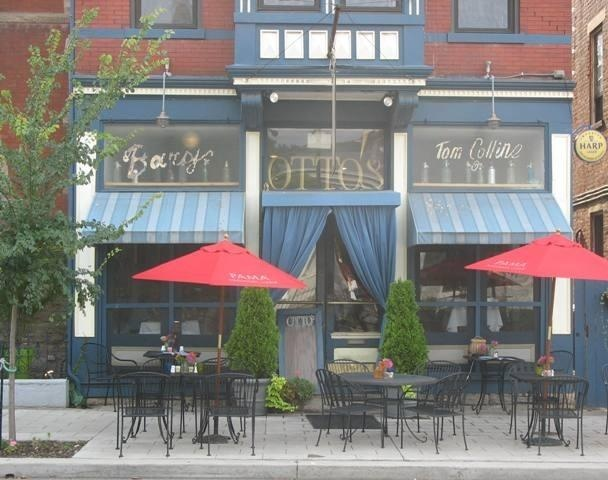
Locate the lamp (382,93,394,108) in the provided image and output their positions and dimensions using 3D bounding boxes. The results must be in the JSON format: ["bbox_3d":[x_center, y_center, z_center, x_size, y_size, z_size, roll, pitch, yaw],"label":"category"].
[{"bbox_3d":[1.695,-2.797,27.124,0.215,0.221,0.482,-2,-8,4],"label":"lamp"}]

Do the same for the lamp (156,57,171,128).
[{"bbox_3d":[-2.810,-2.918,27.078,0.290,1.343,0.635,-1,-7,-7],"label":"lamp"}]

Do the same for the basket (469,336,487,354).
[{"bbox_3d":[3.457,2.081,26.816,0.301,0.306,0.298,5,-9,-39],"label":"basket"}]

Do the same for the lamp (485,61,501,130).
[{"bbox_3d":[3.793,-2.973,27.241,0.260,1.450,0.567,-3,-7,8],"label":"lamp"}]

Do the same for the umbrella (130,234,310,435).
[{"bbox_3d":[-1.364,1.708,24.530,3.022,3.531,3.378,2,-5,-11],"label":"umbrella"}]

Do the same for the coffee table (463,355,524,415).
[{"bbox_3d":[3.758,2.828,26.959,1.140,1.135,1.163,2,4,-17],"label":"coffee table"}]

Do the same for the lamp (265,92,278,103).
[{"bbox_3d":[-0.602,-2.830,26.768,0.176,0.187,0.066,0,0,-14],"label":"lamp"}]

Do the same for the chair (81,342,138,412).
[{"bbox_3d":[-4.126,2.674,26.991,1.174,1.754,1.114,-5,-7,37],"label":"chair"}]
